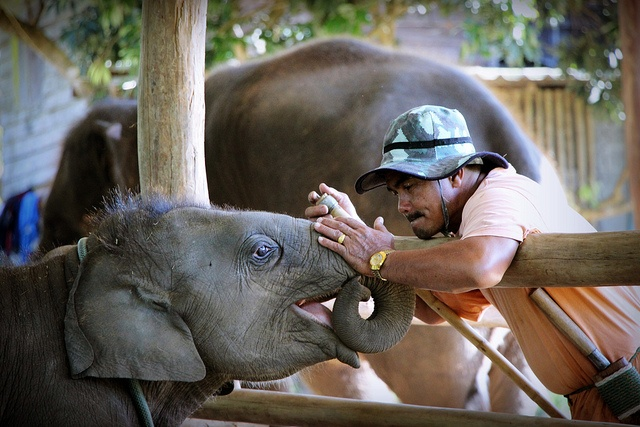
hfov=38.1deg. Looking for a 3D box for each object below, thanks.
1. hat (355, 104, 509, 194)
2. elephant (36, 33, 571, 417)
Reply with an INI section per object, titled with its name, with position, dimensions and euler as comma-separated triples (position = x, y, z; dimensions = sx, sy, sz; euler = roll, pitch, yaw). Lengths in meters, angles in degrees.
[hat]
position = 0.626, -0.379, 5.572
dimensions = 0.585, 0.367, 0.526
euler = -4, -18, -37
[elephant]
position = 0.018, 0.121, 8.267
dimensions = 4.025, 3.457, 2.192
euler = -1, -3, 27
